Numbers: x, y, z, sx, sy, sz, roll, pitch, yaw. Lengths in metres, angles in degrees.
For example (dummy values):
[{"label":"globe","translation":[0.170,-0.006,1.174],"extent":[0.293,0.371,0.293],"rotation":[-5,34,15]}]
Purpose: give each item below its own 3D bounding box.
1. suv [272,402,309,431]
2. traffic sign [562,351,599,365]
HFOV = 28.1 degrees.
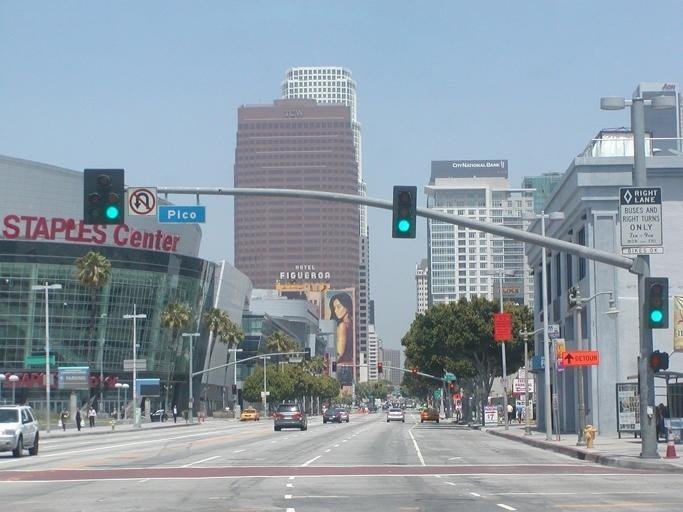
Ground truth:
[{"label":"suv","translation":[-3.876,12.609,105.997],"extent":[2.212,2.353,3.144],"rotation":[-1,-12,2]},{"label":"traffic sign","translation":[13.932,5.961,79.285],"extent":[2.087,1.060,1.577],"rotation":[0,-13,-1]}]
